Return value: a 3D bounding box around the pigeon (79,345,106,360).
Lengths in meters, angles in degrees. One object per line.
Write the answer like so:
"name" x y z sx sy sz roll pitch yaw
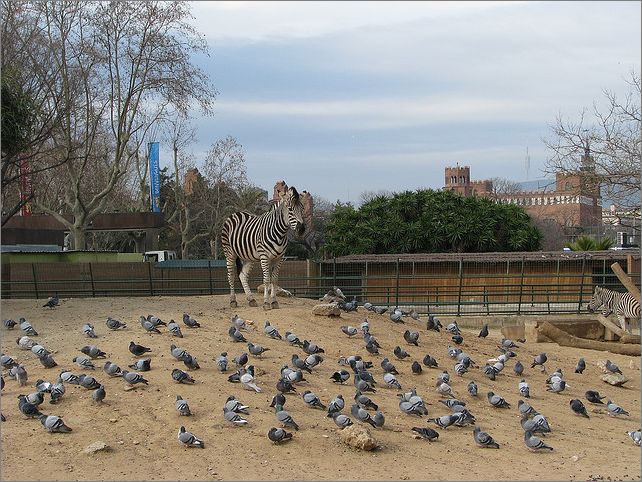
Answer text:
"pigeon" -6.588 3.321 28.023 0.689 0.334 0.386 8 -19 -34

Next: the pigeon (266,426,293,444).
"pigeon" -1.088 5.284 25.853 0.597 0.365 0.387 11 -31 -33

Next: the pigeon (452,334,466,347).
"pigeon" 4.549 3.340 31.776 0.210 0.297 0.450 0 1 27

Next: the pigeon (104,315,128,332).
"pigeon" -6.349 2.617 29.765 0.546 0.360 0.404 2 8 14

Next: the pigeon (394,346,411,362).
"pigeon" 2.513 3.509 29.740 0.264 0.343 0.534 0 3 33

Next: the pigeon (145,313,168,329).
"pigeon" -5.019 2.540 29.610 0.615 0.393 0.336 2 -3 -2

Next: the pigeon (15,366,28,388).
"pigeon" -8.481 3.903 27.315 0.281 0.614 0.565 1 20 -17

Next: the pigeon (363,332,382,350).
"pigeon" 1.593 3.059 30.043 0.234 0.423 0.687 -24 32 -11

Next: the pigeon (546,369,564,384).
"pigeon" 7.339 4.230 29.822 0.688 0.437 0.331 -11 25 -44

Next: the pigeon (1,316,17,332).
"pigeon" -9.966 2.743 30.852 0.324 0.368 0.466 0 -11 -3

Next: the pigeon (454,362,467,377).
"pigeon" 4.288 3.988 29.371 0.363 0.383 0.665 -2 0 8

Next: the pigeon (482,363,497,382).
"pigeon" 5.245 4.110 29.826 0.275 0.497 0.215 -29 -4 -12

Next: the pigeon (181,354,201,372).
"pigeon" -3.750 3.571 27.992 0.554 0.472 0.366 -1 0 -43

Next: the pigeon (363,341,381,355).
"pigeon" 1.632 3.376 29.887 0.460 0.416 0.487 -1 0 -9

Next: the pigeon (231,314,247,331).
"pigeon" -2.495 2.595 29.684 0.328 0.431 0.495 -12 4 25

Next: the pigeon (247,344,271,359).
"pigeon" -1.823 3.312 28.563 0.633 0.478 0.325 -14 7 -43

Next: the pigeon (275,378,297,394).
"pigeon" -0.964 4.184 27.206 0.545 0.417 0.531 -2 0 -1

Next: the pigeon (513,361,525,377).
"pigeon" 6.222 4.082 30.283 0.303 0.456 0.441 -2 -8 -1

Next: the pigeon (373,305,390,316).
"pigeon" 2.154 2.436 33.452 0.602 0.231 0.332 16 -46 -38

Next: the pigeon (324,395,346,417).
"pigeon" 0.384 4.614 26.576 0.644 0.534 0.339 -24 23 -29

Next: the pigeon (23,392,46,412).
"pigeon" -7.768 4.422 26.459 0.591 0.463 0.304 0 5 26

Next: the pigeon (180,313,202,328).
"pigeon" -4.020 2.551 29.981 0.266 0.388 0.611 -9 -8 22

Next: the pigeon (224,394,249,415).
"pigeon" -2.277 4.581 26.285 0.338 0.367 0.712 -10 13 -38

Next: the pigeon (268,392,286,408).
"pigeon" -1.182 4.463 26.807 0.300 0.373 0.457 -16 2 -40

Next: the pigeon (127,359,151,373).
"pigeon" -5.193 3.647 27.819 0.523 0.320 0.314 -1 4 37

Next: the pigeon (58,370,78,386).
"pigeon" -7.070 3.915 27.124 0.694 0.332 0.238 9 -2 29

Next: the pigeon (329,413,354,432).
"pigeon" 0.569 4.975 26.384 0.610 0.457 0.301 -18 15 -25

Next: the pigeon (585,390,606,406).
"pigeon" 8.246 4.718 28.904 0.415 0.256 0.552 -16 3 -29

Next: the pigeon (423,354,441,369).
"pigeon" 3.370 3.777 29.589 0.297 0.369 0.425 -4 2 38

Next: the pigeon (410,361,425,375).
"pigeon" 2.946 3.907 29.290 0.224 0.317 0.396 -2 4 4

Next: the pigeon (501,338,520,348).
"pigeon" 6.311 3.452 32.001 0.474 0.292 0.331 19 -38 -9

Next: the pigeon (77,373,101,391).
"pigeon" -6.520 4.080 27.159 0.600 0.381 0.421 10 25 -5

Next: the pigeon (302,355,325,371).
"pigeon" -0.210 3.584 28.194 0.339 0.267 0.763 44 -30 -21

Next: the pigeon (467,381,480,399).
"pigeon" 4.537 4.463 28.578 0.294 0.422 0.348 -1 0 7

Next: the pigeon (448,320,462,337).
"pigeon" 4.368 3.021 32.422 0.505 0.441 0.333 2 11 42

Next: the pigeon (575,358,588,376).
"pigeon" 8.603 4.155 31.437 0.272 0.519 0.493 0 -12 -26

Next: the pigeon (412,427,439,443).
"pigeon" 2.871 5.308 26.399 0.733 0.366 0.341 33 4 6

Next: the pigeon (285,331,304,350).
"pigeon" -0.825 3.078 29.489 0.230 0.339 0.748 1 -12 30

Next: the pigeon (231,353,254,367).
"pigeon" -2.336 3.540 28.151 0.445 0.378 0.794 -1 -1 -6

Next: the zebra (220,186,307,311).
"zebra" -1.952 0.471 32.467 1.380 3.794 4.544 1 -5 -36

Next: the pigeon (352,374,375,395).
"pigeon" 1.264 4.159 27.492 0.612 0.490 0.333 0 -2 24

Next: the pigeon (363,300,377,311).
"pigeon" 1.602 2.353 33.257 0.223 0.324 0.552 -9 6 -39

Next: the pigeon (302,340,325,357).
"pigeon" -0.231 3.273 28.874 0.570 0.372 0.386 2 10 -10
